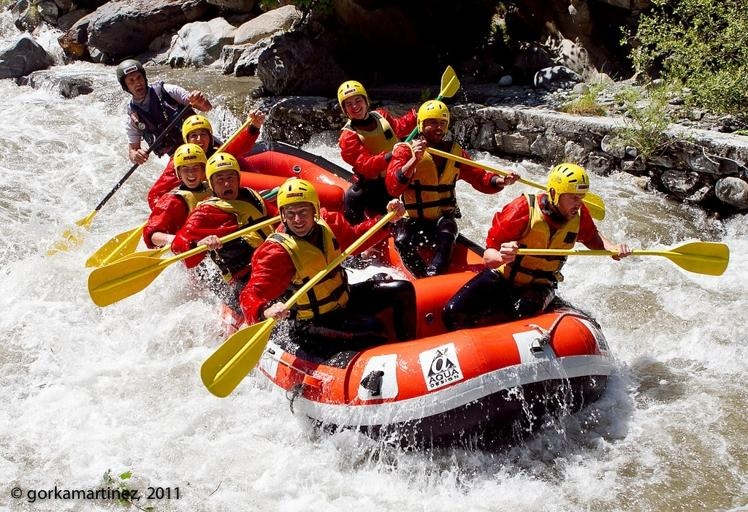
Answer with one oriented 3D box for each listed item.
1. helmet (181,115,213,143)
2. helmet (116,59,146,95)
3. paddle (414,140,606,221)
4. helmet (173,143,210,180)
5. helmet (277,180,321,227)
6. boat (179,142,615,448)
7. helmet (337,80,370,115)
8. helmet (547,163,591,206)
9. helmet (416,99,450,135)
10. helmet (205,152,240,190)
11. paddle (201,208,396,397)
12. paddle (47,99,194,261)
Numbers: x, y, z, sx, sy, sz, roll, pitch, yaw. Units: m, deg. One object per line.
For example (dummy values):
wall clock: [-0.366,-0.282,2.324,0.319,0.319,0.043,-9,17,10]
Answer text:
helmet: [-2.029,-1.424,8.265,0.256,0.348,0.316,-2,60,-25]
helmet: [-2.930,-2.170,8.759,0.342,0.415,0.422,-27,112,-18]
paddle: [1.570,-0.835,8.180,2.265,0.418,0.482,26,97,4]
helmet: [-1.929,-0.997,7.544,0.247,0.340,0.323,-3,69,-12]
helmet: [-0.739,-0.501,6.478,0.312,0.425,0.397,-5,81,-12]
boat: [0.070,0.467,6.693,1.831,1.027,2.998,-25,38,-25]
helmet: [-0.257,-1.694,7.963,0.324,0.452,0.421,-12,75,-5]
helmet: [1.733,-0.656,6.547,0.365,0.347,0.394,7,105,25]
helmet: [0.630,-1.425,7.515,0.301,0.401,0.374,3,93,-5]
helmet: [-1.488,-0.854,7.092,0.247,0.339,0.317,-3,60,-19]
paddle: [-0.713,0.448,6.584,2.342,0.178,0.319,-45,80,0]
paddle: [-3.258,-0.913,9.224,0.355,0.276,3.234,40,86,6]
